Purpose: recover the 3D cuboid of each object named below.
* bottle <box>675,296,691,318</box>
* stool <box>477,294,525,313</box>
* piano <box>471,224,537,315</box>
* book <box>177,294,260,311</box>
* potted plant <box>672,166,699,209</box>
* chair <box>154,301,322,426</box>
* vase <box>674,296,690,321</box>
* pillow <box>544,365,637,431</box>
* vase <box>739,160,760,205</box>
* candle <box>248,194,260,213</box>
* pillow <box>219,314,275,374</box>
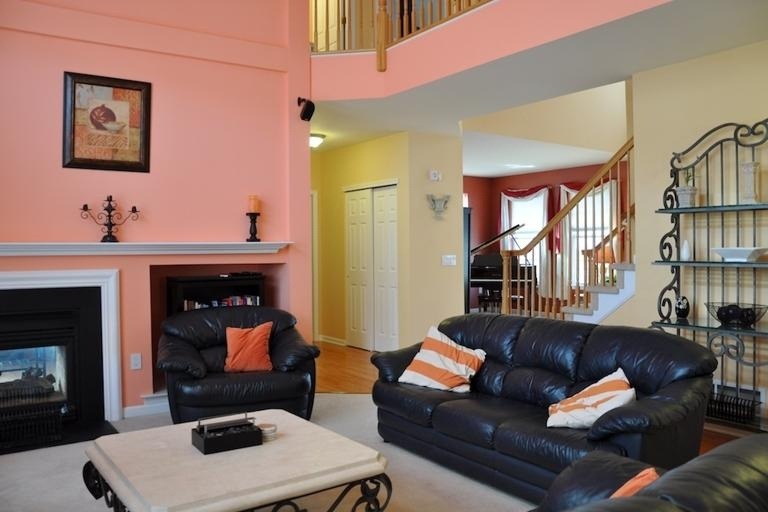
[{"bbox_3d":[2.987,0.526,5.604,0.194,0.238,0.191,0,-2,15],"label":"bottle"},{"bbox_3d":[2.055,0.831,9.784,0.402,0.283,0.596,-1,1,-29],"label":"stool"},{"bbox_3d":[2.404,0.293,11.627,1.467,1.950,1.730,-1,5,16],"label":"piano"},{"bbox_3d":[-1.828,0.539,6.418,0.562,0.179,0.513,0,3,-9],"label":"book"},{"bbox_3d":[3.060,-0.647,5.654,0.210,0.310,0.203,-2,2,-13],"label":"potted plant"},{"bbox_3d":[-1.445,1.087,5.551,1.465,0.989,1.166,0,3,-34],"label":"chair"},{"bbox_3d":[2.989,0.531,5.608,0.208,0.267,0.208,-1,-2,16],"label":"vase"},{"bbox_3d":[1.497,1.033,4.072,0.584,0.376,0.401,-1,2,21],"label":"pillow"},{"bbox_3d":[3.532,-0.703,5.391,0.156,0.411,0.362,0,3,33],"label":"vase"},{"bbox_3d":[-1.452,-0.579,6.310,0.156,0.214,0.149,-2,2,-25],"label":"candle"},{"bbox_3d":[-1.356,0.921,5.591,0.491,0.478,0.176,-1,-8,-6],"label":"pillow"}]
